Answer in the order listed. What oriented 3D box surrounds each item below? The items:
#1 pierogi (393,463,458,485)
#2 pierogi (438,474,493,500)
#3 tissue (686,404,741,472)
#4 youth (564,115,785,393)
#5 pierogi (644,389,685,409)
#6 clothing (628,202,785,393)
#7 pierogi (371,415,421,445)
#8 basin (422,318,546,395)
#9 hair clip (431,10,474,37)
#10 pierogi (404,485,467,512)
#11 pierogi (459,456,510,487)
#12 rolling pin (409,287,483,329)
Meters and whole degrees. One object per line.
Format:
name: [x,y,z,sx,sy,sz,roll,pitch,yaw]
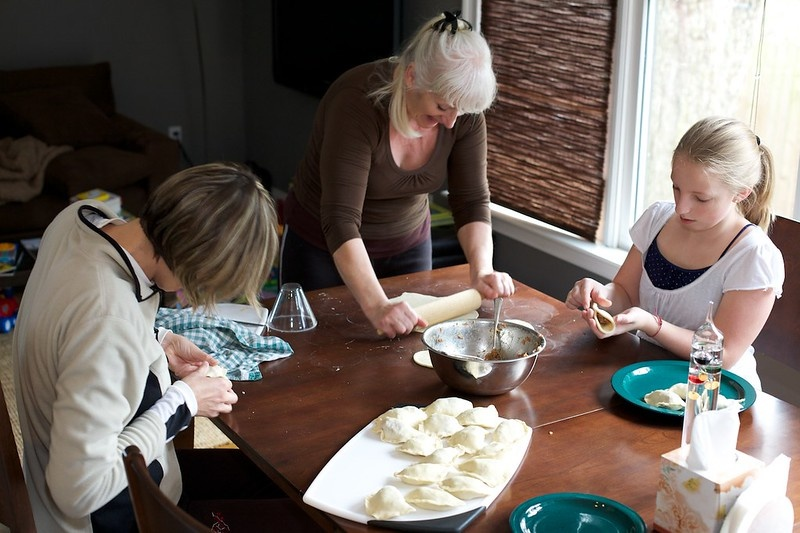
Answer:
pierogi: [0.056,0.473,1.320,0.133,0.032,0.053,-6,28,-2]
pierogi: [0.141,0.485,1.280,0.060,0.020,0.061,7,4,33]
tissue: [0.626,0.348,1.165,0.113,0.138,0.061,2,26,7]
youth: [0.943,0.088,2.058,0.667,1.140,0.600,6,25,13]
pierogi: [0.713,0.357,1.559,0.106,0.030,0.069,-1,28,7]
clothing: [0.974,0.090,1.832,0.261,0.467,0.469,-14,34,-22]
pierogi: [-0.009,0.407,1.442,0.083,0.025,0.059,18,32,36]
basin: [0.246,0.253,1.648,0.248,0.099,0.248,0,12,0]
hair clip: [0.168,-0.763,1.858,0.102,0.050,0.118,3,29,3]
pierogi: [0.069,0.493,1.256,0.075,0.026,0.056,1,4,16]
pierogi: [0.198,0.462,1.320,0.069,0.020,0.059,14,21,27]
rolling pin: [0.135,0.171,2.015,0.342,0.100,0.088,-11,-10,-35]
